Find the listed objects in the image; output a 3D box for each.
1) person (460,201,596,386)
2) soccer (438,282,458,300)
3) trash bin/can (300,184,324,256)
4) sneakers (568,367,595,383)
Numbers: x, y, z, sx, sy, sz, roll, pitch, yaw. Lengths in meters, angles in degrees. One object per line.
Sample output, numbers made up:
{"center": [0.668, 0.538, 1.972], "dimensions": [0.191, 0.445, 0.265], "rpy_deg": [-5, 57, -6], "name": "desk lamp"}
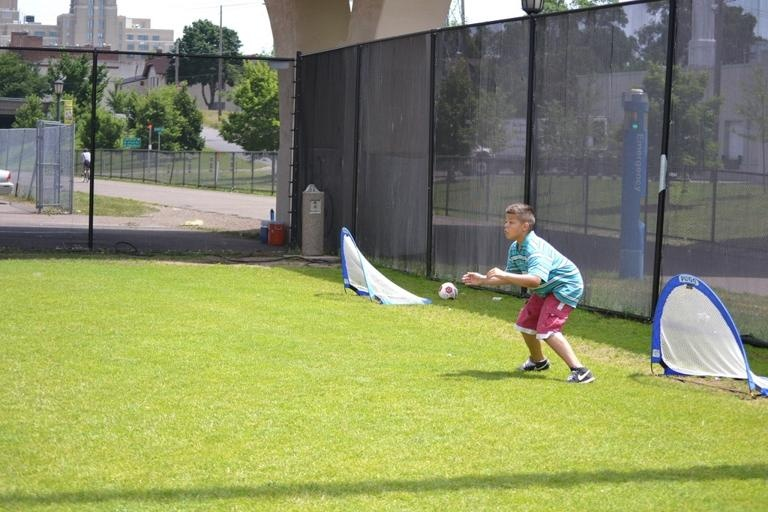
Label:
{"center": [1.866, 0.443, 12.083], "dimensions": [1.350, 2.071, 0.922], "rpy_deg": [0, 14, -3], "name": "person"}
{"center": [0.946, 0.521, 15.096], "dimensions": [0.270, 0.245, 0.215], "rpy_deg": [-8, 12, -34], "name": "soccer"}
{"center": [-1.459, -0.616, 20.951], "dimensions": [0.444, 1.772, 0.579], "rpy_deg": [6, -30, -12], "name": "trash bin/can"}
{"center": [2.365, 1.415, 12.125], "dimensions": [0.368, 0.193, 0.139], "rpy_deg": [-5, -2, -14], "name": "sneakers"}
